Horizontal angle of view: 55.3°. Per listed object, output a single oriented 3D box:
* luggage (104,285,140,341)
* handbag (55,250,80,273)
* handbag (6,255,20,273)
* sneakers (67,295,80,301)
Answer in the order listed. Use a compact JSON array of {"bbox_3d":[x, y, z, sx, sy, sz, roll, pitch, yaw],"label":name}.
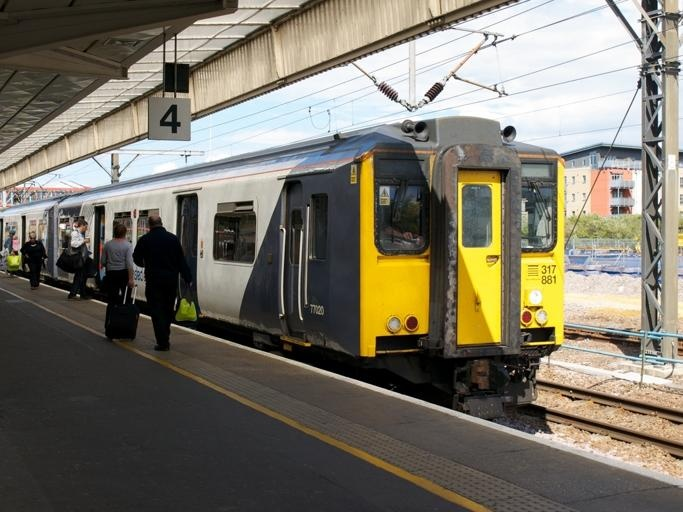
[{"bbox_3d":[-3.909,0.889,11.857,0.484,1.343,0.405,4,-30,-10],"label":"luggage"},{"bbox_3d":[-7.721,0.133,18.476,0.561,0.671,0.324,12,-5,21],"label":"handbag"},{"bbox_3d":[-13.447,0.278,26.688,0.599,0.949,0.475,0,3,-11],"label":"handbag"},{"bbox_3d":[-7.512,1.176,18.310,0.381,0.191,0.132,1,0,32],"label":"sneakers"}]
